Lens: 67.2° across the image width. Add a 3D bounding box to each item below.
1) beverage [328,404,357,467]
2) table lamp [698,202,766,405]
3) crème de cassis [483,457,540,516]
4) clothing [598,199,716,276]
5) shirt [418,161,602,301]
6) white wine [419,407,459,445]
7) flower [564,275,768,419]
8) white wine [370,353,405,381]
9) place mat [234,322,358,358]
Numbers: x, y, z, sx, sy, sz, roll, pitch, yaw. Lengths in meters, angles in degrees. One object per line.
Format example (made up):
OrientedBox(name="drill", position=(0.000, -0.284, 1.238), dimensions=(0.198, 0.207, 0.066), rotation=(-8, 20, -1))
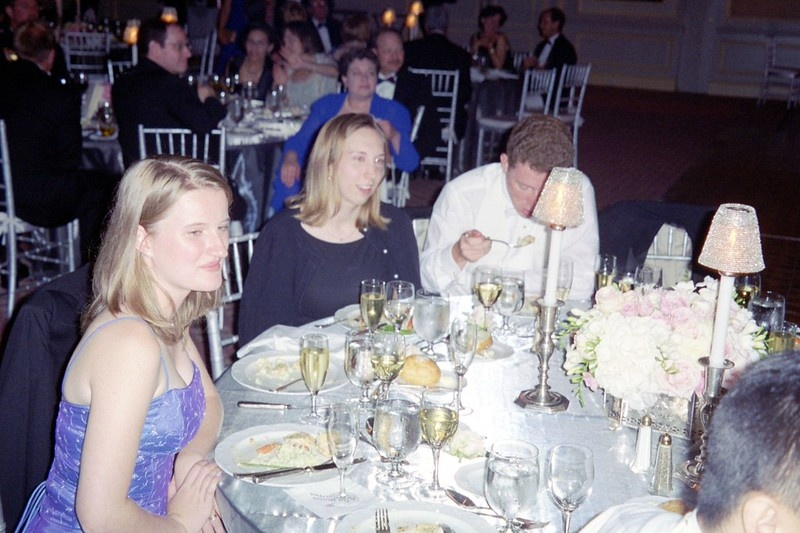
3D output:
OrientedBox(name="beverage", position=(-0.151, 0.443, 1.566), dimensions=(0.082, 0.164, 0.080), rotation=(5, 4, -27))
OrientedBox(name="table lamp", position=(0.883, 0.092, 1.631), dimensions=(0.145, 0.504, 0.254), rotation=(9, 4, 31))
OrientedBox(name="crème de cassis", position=(0.260, 0.521, 1.486), dimensions=(0.132, 0.150, 0.129), rotation=(0, 8, -9))
OrientedBox(name="clothing", position=(1.507, -0.159, 3.521), dimensions=(0.350, 0.505, 0.370), rotation=(5, 33, 7))
OrientedBox(name="shirt", position=(0.514, -0.146, 2.845), dimensions=(0.583, 0.662, 0.370), rotation=(15, 53, -5))
OrientedBox(name="white wine", position=(0.103, 0.421, 1.646), dimensions=(0.098, 0.117, 0.101), rotation=(4, 11, 36))
OrientedBox(name="flower", position=(0.783, 0.299, 1.787), dimensions=(0.436, 0.208, 0.434), rotation=(-12, 32, 29))
OrientedBox(name="white wine", position=(-0.047, 0.303, 1.890), dimensions=(0.082, 0.093, 0.086), rotation=(21, 29, 40))
OrientedBox(name="place mat", position=(-0.394, 0.258, 2.275), dimensions=(0.209, 0.064, 0.240), rotation=(-8, 10, 44))
